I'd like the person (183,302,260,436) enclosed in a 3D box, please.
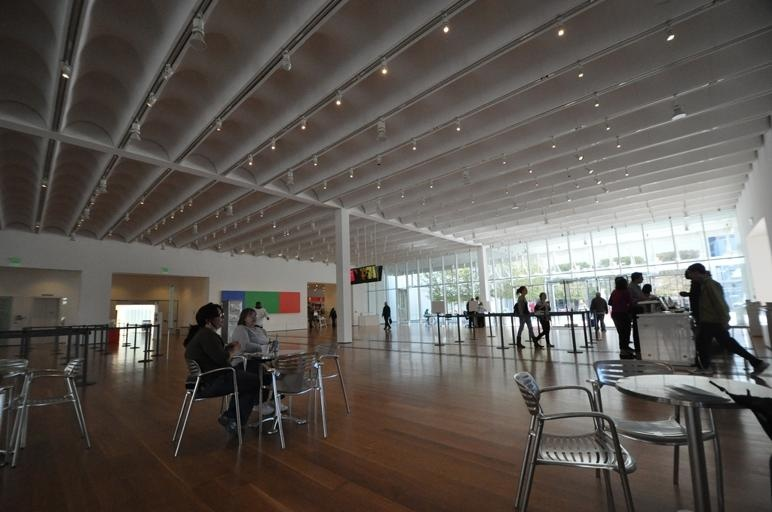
[{"bbox_3d":[-2.490,1.698,6.447,1.049,1.947,0.549,1,-8,-26],"label":"person"}]

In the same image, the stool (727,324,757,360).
[{"bbox_3d":[6.384,1.586,7.649,0.453,0.706,1.166,-8,-9,40],"label":"stool"}]

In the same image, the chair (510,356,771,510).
[{"bbox_3d":[2.533,2.126,4.937,2.336,1.533,1.495,-8,-8,39],"label":"chair"}]

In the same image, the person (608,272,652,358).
[{"bbox_3d":[5.581,1.359,9.754,0.695,1.926,1.111,-8,-9,39],"label":"person"}]

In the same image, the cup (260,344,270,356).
[{"bbox_3d":[-2.057,1.587,7.173,0.129,0.238,0.128,0,-8,0],"label":"cup"}]
